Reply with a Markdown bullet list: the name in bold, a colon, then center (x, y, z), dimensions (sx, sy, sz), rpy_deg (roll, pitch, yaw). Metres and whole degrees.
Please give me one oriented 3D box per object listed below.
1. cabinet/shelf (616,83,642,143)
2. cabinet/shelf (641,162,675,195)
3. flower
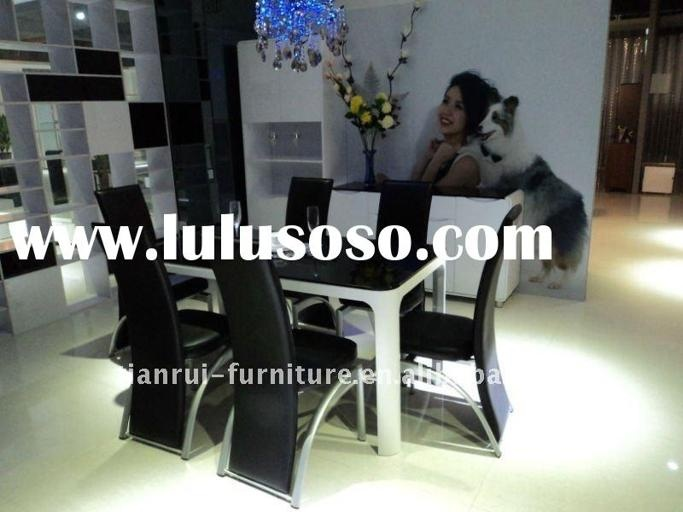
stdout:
- **cabinet/shelf**: center (5.698, -2.852, 9.954), dimensions (0.457, 1.117, 0.271), rpy_deg (12, 18, 39)
- **cabinet/shelf**: center (5.991, -1.487, 9.605), dimensions (0.557, 0.612, 0.589), rpy_deg (3, 15, 4)
- **flower**: center (0.330, -1.823, 4.946), dimensions (1.046, 1.914, 0.640), rpy_deg (6, 21, 18)
